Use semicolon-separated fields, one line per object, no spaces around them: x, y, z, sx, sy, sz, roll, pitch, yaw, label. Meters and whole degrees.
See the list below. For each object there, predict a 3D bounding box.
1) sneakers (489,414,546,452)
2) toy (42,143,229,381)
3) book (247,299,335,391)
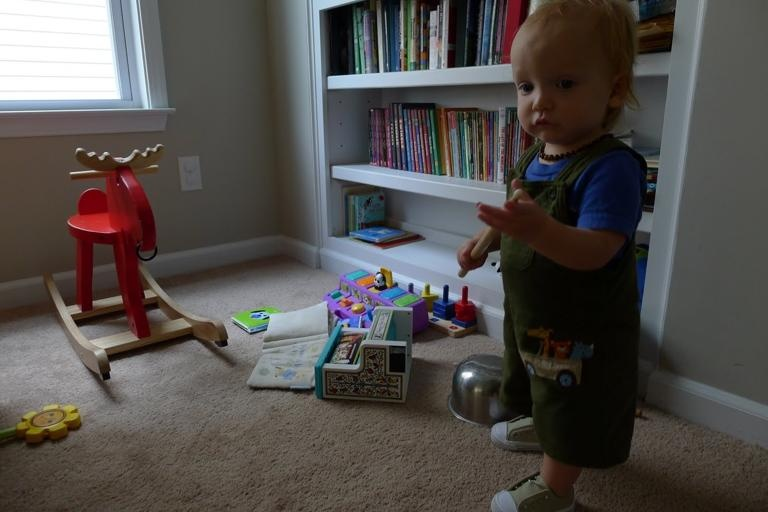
0.392;0.517;1.581;0.199;0.083;0.078;13;5;-24;sneakers
-1.013;-0.045;2.093;0.439;0.786;0.908;-10;21;-40;toy
-0.330;0.314;1.977;0.278;0.131;0.414;-6;27;6;book
